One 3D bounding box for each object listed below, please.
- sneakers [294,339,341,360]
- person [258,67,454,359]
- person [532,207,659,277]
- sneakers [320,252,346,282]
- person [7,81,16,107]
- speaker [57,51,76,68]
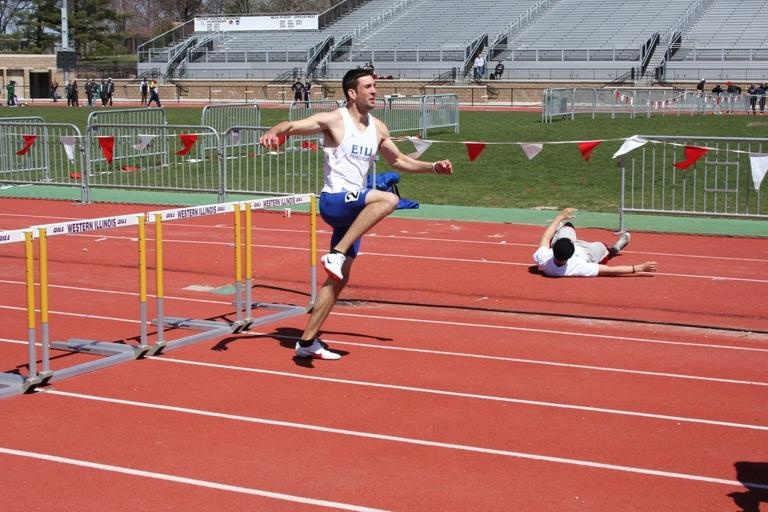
[{"bbox_3d":[-0.560,0.901,7.973,0.576,0.173,0.163,2,4,-9],"label":"sneakers"},{"bbox_3d":[-0.308,-0.390,7.841,1.309,2.759,1.386,4,17,15],"label":"person"},{"bbox_3d":[2.784,-0.089,11.256,1.453,0.598,0.976,0,14,-1],"label":"person"},{"bbox_3d":[-0.455,0.086,7.418,0.194,0.227,0.202,-1,15,-2],"label":"sneakers"},{"bbox_3d":[-21.640,-9.537,47.833,0.466,1.343,1.893,-8,16,-23],"label":"person"},{"bbox_3d":[-18.544,-11.570,48.248,0.970,1.118,2.089,-6,15,-21],"label":"speaker"}]
